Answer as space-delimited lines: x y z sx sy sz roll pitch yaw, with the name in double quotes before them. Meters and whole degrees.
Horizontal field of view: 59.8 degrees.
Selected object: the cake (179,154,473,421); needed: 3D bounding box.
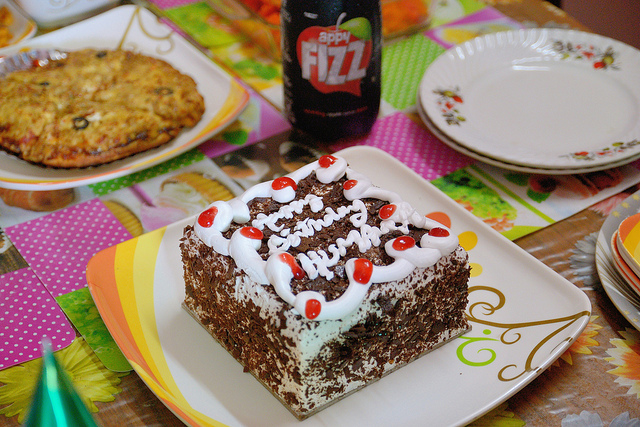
"cake" -0.023 0.168 1.547 0.717 0.524 0.565 -9 33 -12
